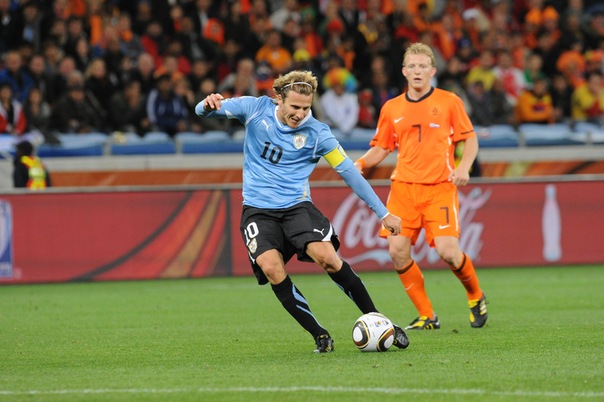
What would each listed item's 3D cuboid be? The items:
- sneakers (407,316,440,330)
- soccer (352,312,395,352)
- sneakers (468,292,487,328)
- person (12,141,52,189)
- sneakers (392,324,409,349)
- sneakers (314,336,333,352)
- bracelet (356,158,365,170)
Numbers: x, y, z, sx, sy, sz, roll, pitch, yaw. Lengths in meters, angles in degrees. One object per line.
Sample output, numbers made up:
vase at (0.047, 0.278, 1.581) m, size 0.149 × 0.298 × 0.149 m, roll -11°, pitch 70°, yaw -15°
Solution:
sneakers at (1.595, 1.578, 12.463) m, size 0.457 × 0.181 × 0.167 m, roll 0°, pitch -6°, yaw -4°
soccer at (0.848, 1.565, 11.411) m, size 0.460 × 0.433 × 0.455 m, roll 3°, pitch 36°, yaw -4°
sneakers at (2.306, 1.417, 12.532) m, size 0.194 × 0.436 × 0.156 m, roll 7°, pitch -6°, yaw -35°
person at (-4.569, -0.609, 15.932) m, size 0.530 × 0.785 × 0.320 m, roll -6°, pitch 5°, yaw -28°
sneakers at (1.182, 1.635, 11.524) m, size 0.170 × 0.289 × 0.102 m, roll -27°, pitch -5°, yaw -23°
sneakers at (0.255, 1.686, 11.494) m, size 0.244 × 0.208 × 0.225 m, roll -4°, pitch 4°, yaw 0°
bracelet at (0.752, -0.470, 12.328) m, size 0.142 × 0.136 × 0.139 m, roll 4°, pitch 15°, yaw 15°
